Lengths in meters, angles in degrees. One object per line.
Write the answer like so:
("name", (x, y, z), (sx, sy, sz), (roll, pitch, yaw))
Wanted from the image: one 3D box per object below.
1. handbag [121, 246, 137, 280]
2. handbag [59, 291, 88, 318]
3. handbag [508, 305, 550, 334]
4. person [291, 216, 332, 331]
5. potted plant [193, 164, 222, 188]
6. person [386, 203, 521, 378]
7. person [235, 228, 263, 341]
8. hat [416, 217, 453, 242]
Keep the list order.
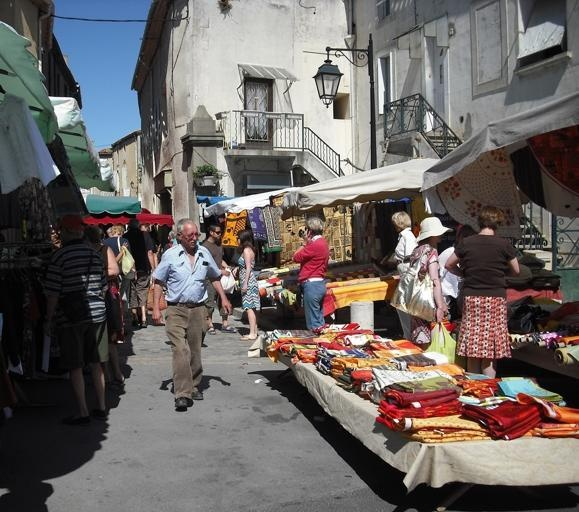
("handbag", (-3.309, 0.228, 10.715), (0.278, 0.763, 0.619), (-1, -6, -13))
("handbag", (-2.167, 0.508, 5.185), (0.183, 0.269, 0.141), (-17, 5, -30))
("handbag", (2.415, 0.662, 5.259), (0.326, 0.172, 0.287), (-12, -1, -7))
("person", (0.335, 0.303, 7.986), (0.502, 1.683, 0.401), (0, 0, 0))
("potted plant", (-3.191, -2.935, 20.363), (0.836, 0.907, 0.888), (2, 4, 14))
("person", (1.923, 0.370, 5.168), (0.646, 1.638, 0.420), (0, 0, 33))
("person", (-0.785, 0.607, 10.222), (0.400, 1.470, 0.593), (0, 0, -4))
("hat", (1.766, -0.307, 6.403), (0.306, 0.191, 0.294), (-20, 9, -29))
